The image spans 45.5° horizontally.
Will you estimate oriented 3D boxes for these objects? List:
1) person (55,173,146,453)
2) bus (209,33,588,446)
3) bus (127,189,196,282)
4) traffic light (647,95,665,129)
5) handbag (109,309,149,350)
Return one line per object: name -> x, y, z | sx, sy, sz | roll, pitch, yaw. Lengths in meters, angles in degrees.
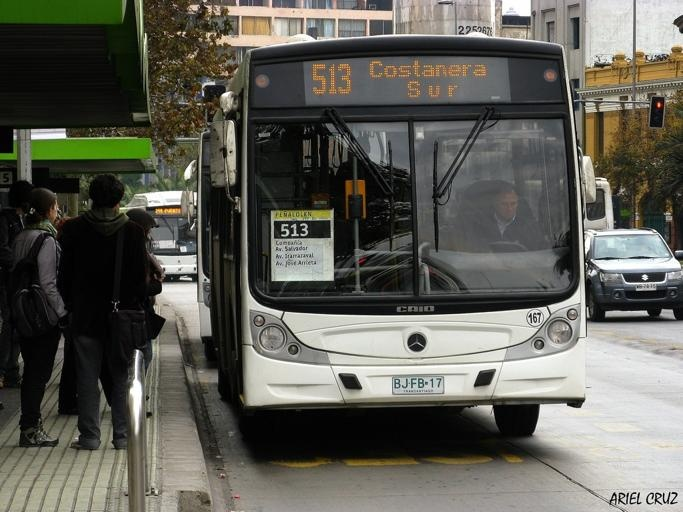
person -> -1.975, 0.485, 6.827 | 0.747, 2.327, 0.326 | 2, 0, 3
bus -> 0.822, 0.310, 10.675 | 3.589, 3.941, 7.573 | -1, -7, 5
bus -> -9.295, -1.143, 42.896 | 3.807, 4.972, 10.424 | 0, -1, -12
traffic light -> 13.421, -6.133, 34.746 | 0.577, 1.413, 1.260 | 2, 0, 19
handbag -> -1.733, 0.648, 6.814 | 0.308, 0.349, 0.285 | -9, -1, -23
